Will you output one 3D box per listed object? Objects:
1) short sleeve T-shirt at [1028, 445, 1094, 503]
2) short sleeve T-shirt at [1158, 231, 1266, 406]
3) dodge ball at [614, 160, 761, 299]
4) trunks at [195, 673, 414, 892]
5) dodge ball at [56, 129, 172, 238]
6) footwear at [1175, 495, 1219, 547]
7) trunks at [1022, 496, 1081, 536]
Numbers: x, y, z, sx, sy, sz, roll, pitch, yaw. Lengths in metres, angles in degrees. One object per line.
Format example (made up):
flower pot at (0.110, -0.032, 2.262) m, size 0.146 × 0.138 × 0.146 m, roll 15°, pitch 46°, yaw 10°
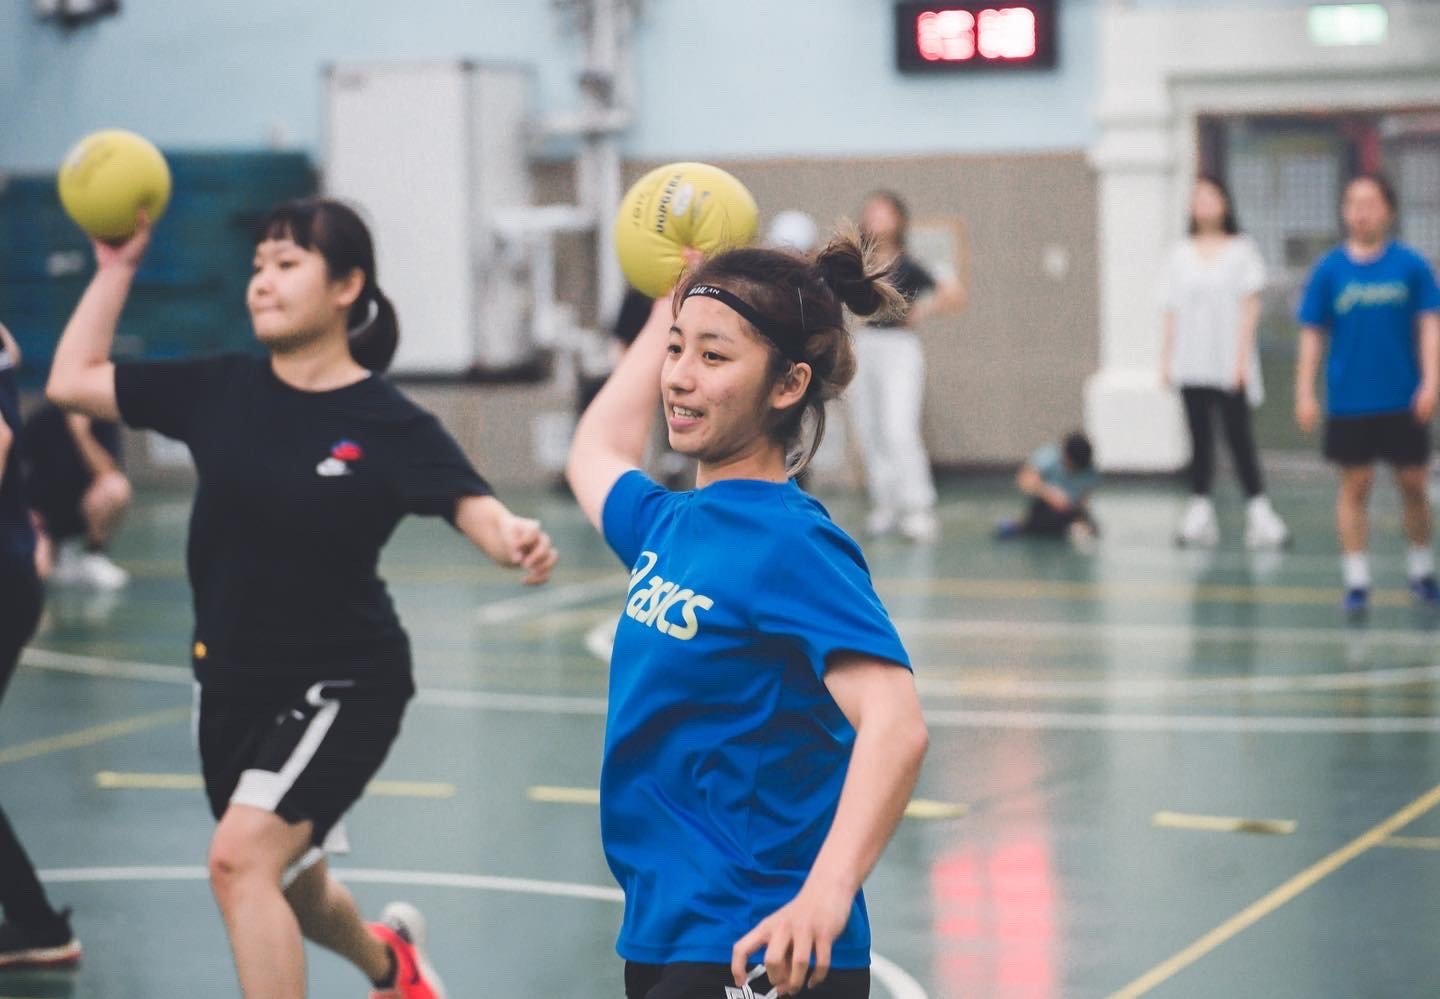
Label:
short sleeve T-shirt at (2.232, -0.138, 11.370) m, size 0.417 × 0.390 × 0.445 m, roll 1°, pitch 11°, yaw 10°
short sleeve T-shirt at (2.992, -1.106, 10.535) m, size 0.595 × 0.941 × 0.308 m, roll 4°, pitch 11°, yaw 26°
dodge ball at (-0.087, -0.696, 4.556) m, size 0.408 × 0.349 × 0.290 m, roll 2°, pitch 11°, yaw 13°
trunks at (-1.135, 0.769, 4.804) m, size 0.575 × 0.523 × 0.476 m, roll 10°, pitch -11°, yaw -24°
dodge ball at (-1.768, -0.920, 5.070) m, size 0.321 × 0.377 × 0.324 m, roll 1°, pitch 9°, yaw 0°
footwear at (3.142, 0.147, 11.587) m, size 0.307 × 0.446 × 0.296 m, roll 0°, pitch 3°, yaw -5°
trunks at (2.280, 0.121, 11.874) m, size 0.172 × 0.174 × 0.531 m, roll 3°, pitch -36°, yaw -14°
